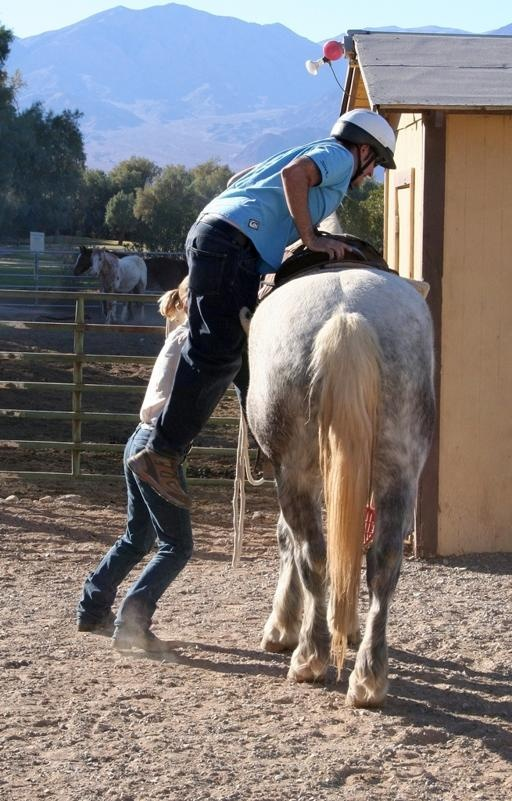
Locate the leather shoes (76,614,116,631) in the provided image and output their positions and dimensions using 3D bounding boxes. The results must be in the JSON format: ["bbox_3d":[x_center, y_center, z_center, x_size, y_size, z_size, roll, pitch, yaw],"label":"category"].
[{"bbox_3d":[-0.700,0.980,4.074,0.191,0.080,0.062,-4,2,-17],"label":"leather shoes"}]

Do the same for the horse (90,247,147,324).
[{"bbox_3d":[-3.006,-2.439,19.660,0.722,1.607,2.452,2,9,19],"label":"horse"}]

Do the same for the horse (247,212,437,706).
[{"bbox_3d":[0.239,0.307,3.136,0.558,1.560,0.511,4,5,27],"label":"horse"}]

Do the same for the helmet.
[{"bbox_3d":[0.418,-1.021,3.587,0.288,0.224,0.211,6,14,-35],"label":"helmet"}]

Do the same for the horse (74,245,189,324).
[{"bbox_3d":[-3.020,-2.504,19.774,0.743,1.590,2.794,5,9,23],"label":"horse"}]
